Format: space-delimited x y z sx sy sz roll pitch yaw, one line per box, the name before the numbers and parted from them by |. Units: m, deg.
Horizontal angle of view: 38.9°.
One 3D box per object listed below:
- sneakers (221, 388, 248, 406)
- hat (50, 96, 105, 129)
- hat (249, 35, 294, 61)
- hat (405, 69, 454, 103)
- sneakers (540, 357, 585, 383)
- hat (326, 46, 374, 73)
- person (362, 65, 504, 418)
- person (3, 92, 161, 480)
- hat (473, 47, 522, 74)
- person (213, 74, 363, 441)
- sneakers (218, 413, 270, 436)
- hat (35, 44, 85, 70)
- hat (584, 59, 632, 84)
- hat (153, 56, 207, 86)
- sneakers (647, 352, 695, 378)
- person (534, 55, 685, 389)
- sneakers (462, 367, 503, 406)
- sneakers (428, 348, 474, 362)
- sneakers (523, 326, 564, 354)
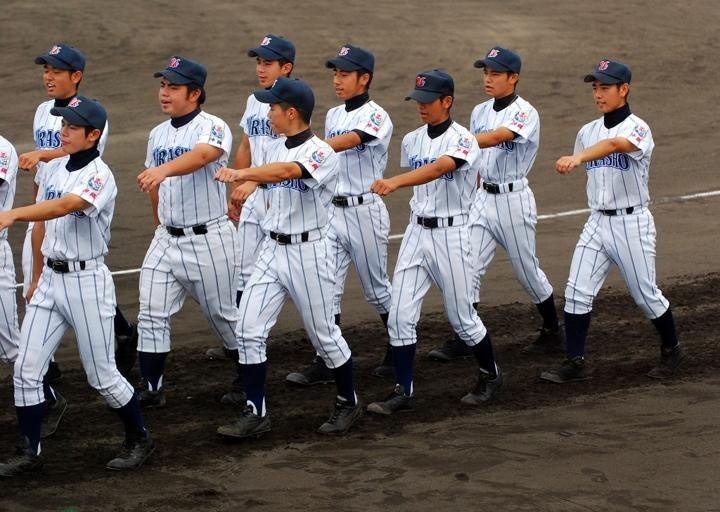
sneakers | -1.162 1.314 9.459 0.251 0.077 0.111 2 3 4
hat | -2.247 -1.161 8.269 0.406 0.161 0.269 10 10 -29
hat | -0.825 -2.091 10.311 0.482 0.195 0.281 7 9 -23
hat | 0.677 -1.528 9.169 0.482 0.198 0.286 -11 22 -29
sneakers | 1.967 1.087 9.676 0.570 0.187 0.177 0 10 -9
hat | -0.056 -1.948 10.092 0.475 0.177 0.294 6 5 -15
person | 0.706 -0.149 9.245 1.070 2.965 1.184 1 20 6
person | -2.447 0.220 8.392 1.264 2.957 1.212 -3 20 -6
hat | 1.441 -1.960 10.274 0.484 0.180 0.300 6 14 -9
person | -0.618 0.011 8.769 1.108 3.010 0.978 -4 20 -6
sneakers | -0.987 1.458 8.813 0.486 0.167 0.178 0 9 -18
hat | -2.759 -1.861 9.680 0.508 0.211 0.315 3 15 -32
hat | 2.461 -1.735 9.710 0.550 0.194 0.339 1 6 -9
hat | -1.575 -1.660 9.203 0.466 0.178 0.296 8 8 -21
sneakers | 3.021 1.003 9.745 0.548 0.179 0.188 -21 26 -26
person | 2.452 -0.317 9.616 1.175 2.925 1.262 4 20 15
sneakers | 1.167 1.185 9.456 0.199 0.187 0.536 20 36 41
sneakers | 0.914 1.005 10.406 0.467 0.142 0.134 5 -5 -9
sneakers | 1.878 0.870 10.467 0.607 0.202 0.181 -5 6 -27
